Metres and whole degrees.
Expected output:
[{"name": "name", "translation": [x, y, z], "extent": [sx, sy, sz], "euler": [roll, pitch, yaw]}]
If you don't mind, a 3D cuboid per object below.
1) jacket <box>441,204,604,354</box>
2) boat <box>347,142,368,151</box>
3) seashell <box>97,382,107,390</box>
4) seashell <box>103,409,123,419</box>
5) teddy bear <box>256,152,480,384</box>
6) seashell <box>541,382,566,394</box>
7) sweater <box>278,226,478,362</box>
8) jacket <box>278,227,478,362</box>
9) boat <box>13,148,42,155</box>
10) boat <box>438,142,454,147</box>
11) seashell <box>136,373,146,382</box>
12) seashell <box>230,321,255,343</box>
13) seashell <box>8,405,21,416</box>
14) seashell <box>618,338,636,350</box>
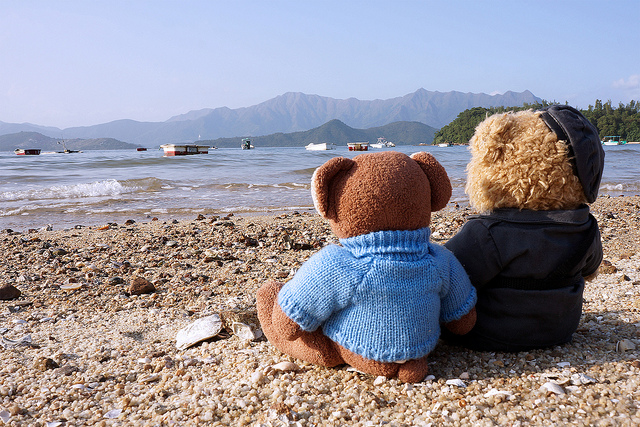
[{"name": "jacket", "translation": [1.444, 0.383, 3.423], "extent": [1.180, 1.058, 0.860], "euler": [-2, 11, -7]}, {"name": "boat", "translation": [5.014, -8.474, 60.352], "extent": [2.237, 1.000, 3.965], "euler": [-1, 13, 2]}, {"name": "seashell", "translation": [-1.451, 1.148, 3.145], "extent": [0.044, 0.016, 0.061], "euler": [1, 13, 10]}, {"name": "seashell", "translation": [-1.287, 1.235, 2.919], "extent": [0.103, 0.024, 0.061], "euler": [1, 13, 8]}, {"name": "teddy bear", "translation": [0.147, 0.298, 3.387], "extent": [1.768, 1.599, 1.354], "euler": [-5, 6, -19]}, {"name": "seashell", "translation": [1.423, 1.054, 2.854], "extent": [0.088, 0.026, 0.102], "euler": [-6, 14, -19]}, {"name": "sweater", "translation": [0.309, 0.369, 3.175], "extent": [1.078, 1.224, 0.864], "euler": [-7, 15, -13]}, {"name": "jacket", "translation": [0.381, 0.499, 2.910], "extent": [1.261, 0.837, 0.287], "euler": [-3, 13, -8]}, {"name": "boat", "translation": [-32.288, -6.840, 51.969], "extent": [2.022, 0.603, 3.405], "euler": [-10, 16, -35]}, {"name": "boat", "translation": [28.838, -15.714, 106.241], "extent": [2.389, 1.225, 3.310], "euler": [4, 9, 8]}, {"name": "seashell", "translation": [-1.215, 1.107, 3.189], "extent": [0.049, 0.028, 0.056], "euler": [3, 14, 19]}, {"name": "seashell", "translation": [-0.564, 0.864, 3.472], "extent": [0.126, 0.130, 0.038], "euler": [-44, -6, 23]}, {"name": "seashell", "translation": [-1.917, 1.225, 2.947], "extent": [0.080, 0.032, 0.055], "euler": [9, 17, 38]}, {"name": "seashell", "translation": [2.072, 0.881, 3.153], "extent": [0.056, 0.070, 0.071], "euler": [7, -17, -43]}]
